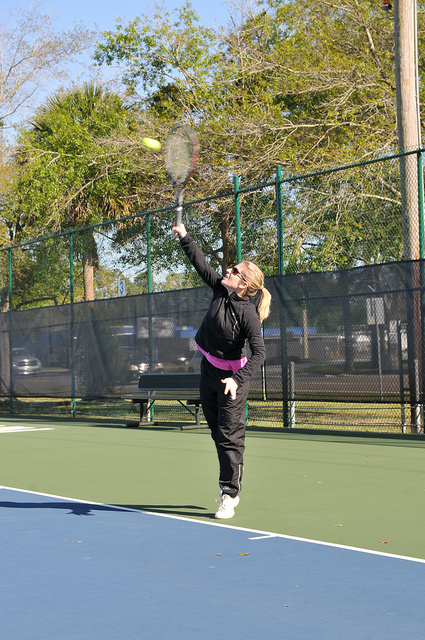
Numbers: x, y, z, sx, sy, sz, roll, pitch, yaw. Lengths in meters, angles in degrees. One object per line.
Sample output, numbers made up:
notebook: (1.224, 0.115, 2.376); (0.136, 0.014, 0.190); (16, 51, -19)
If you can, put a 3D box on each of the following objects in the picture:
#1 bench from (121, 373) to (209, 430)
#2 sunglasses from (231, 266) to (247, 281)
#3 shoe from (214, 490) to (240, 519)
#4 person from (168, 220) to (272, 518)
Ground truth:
bench: (-0.741, 1.346, 12.002); (1.733, 0.924, 0.680); (-4, -3, 37)
sunglasses: (0.186, -0.323, 4.954); (0.022, 0.074, 0.064); (-40, 3, -8)
shoe: (0.112, 1.328, 5.096); (0.083, 0.167, 0.252); (-16, -12, 27)
person: (0.098, 0.344, 5.049); (0.493, 2.111, 0.750); (-1, -3, -43)
